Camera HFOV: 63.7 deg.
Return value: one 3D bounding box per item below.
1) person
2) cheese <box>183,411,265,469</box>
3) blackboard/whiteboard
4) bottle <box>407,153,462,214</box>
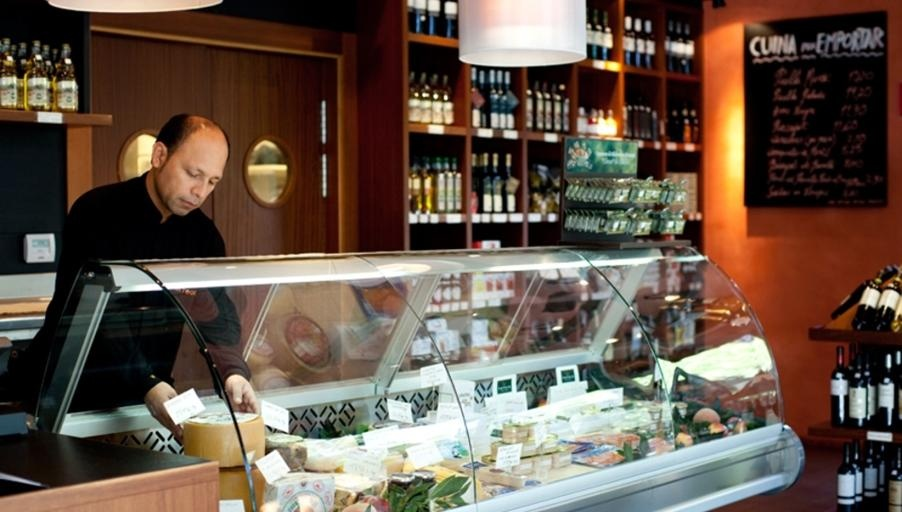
[{"bbox_3d":[-1.280,0.115,3.023,0.905,1.529,0.915,0,2,-15],"label":"person"},{"bbox_3d":[-0.857,0.685,2.736,0.285,0.175,0.286,3,-3,-23],"label":"cheese"},{"bbox_3d":[3.245,-1.283,6.493,1.131,1.671,0.144,0,5,27],"label":"blackboard/whiteboard"},{"bbox_3d":[-0.122,-0.513,5.292,0.314,0.538,0.237,2,3,37],"label":"bottle"}]
